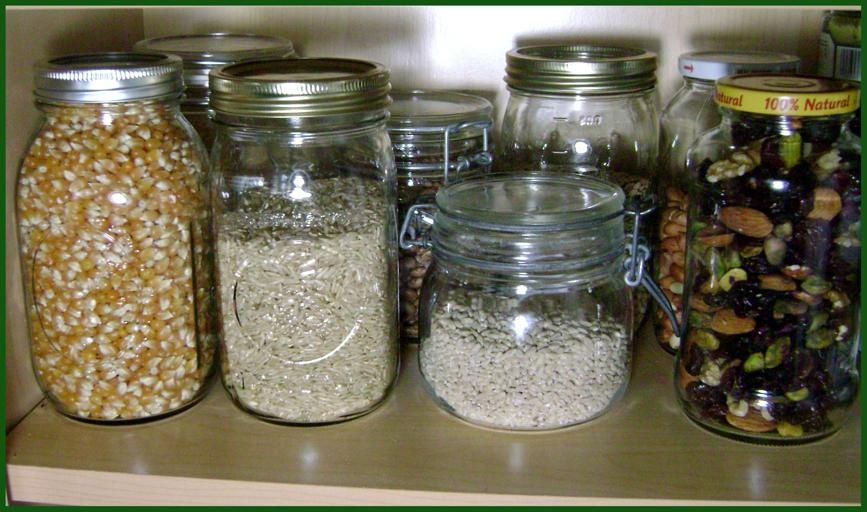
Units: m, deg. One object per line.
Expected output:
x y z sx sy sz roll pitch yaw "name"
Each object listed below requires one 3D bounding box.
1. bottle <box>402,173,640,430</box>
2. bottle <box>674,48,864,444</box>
0.174 0.112 1.120 0.324 0.264 0.336 -2 -4 0 "bottle"
0.449 0.026 0.969 0.233 0.432 0.170 3 25 16 "bottle"
